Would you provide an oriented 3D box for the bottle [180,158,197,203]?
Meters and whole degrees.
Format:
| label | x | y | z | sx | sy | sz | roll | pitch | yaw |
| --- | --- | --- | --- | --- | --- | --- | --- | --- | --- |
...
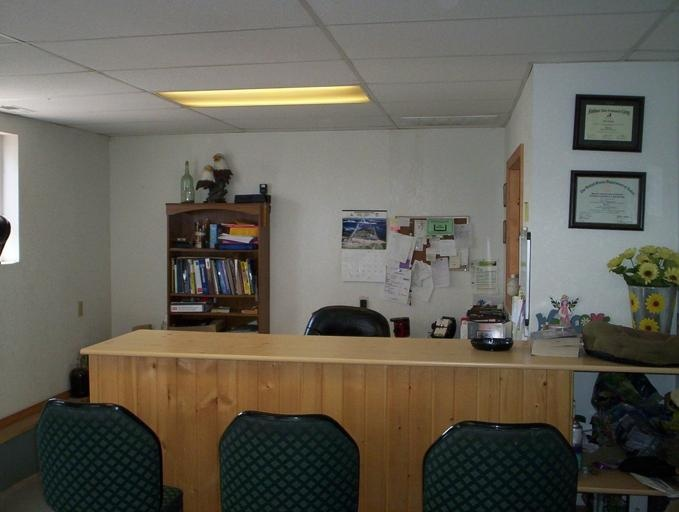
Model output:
| label | x | y | z | sx | sy | sz | roll | pitch | yaw |
| --- | --- | --- | --- | --- | --- | --- | --- | --- | --- |
| bottle | -1.482 | -0.724 | 5.639 | 0.140 | 0.437 | 0.285 | 0 | 1 | -15 |

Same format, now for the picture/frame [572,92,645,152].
| label | x | y | z | sx | sy | sz | roll | pitch | yaw |
| --- | --- | --- | --- | --- | --- | --- | --- | --- | --- |
| picture/frame | 1.653 | -0.822 | 3.538 | 0.361 | 0.316 | 0.029 | 2 | 4 | 8 |

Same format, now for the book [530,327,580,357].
| label | x | y | z | sx | sy | sz | roll | pitch | yaw |
| --- | --- | --- | --- | --- | --- | --- | --- | --- | --- |
| book | 1.092 | 0.436 | 2.918 | 0.172 | 0.078 | 0.172 | 0 | 0 | 10 |

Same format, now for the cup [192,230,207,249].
| label | x | y | z | sx | sy | sz | roll | pitch | yaw |
| --- | --- | --- | --- | --- | --- | --- | --- | --- | --- |
| cup | -1.338 | -0.153 | 5.547 | 0.143 | 0.161 | 0.142 | 3 | 7 | 0 |

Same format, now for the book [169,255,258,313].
| label | x | y | z | sx | sy | sz | roll | pitch | yaw |
| --- | --- | --- | --- | --- | --- | --- | --- | --- | --- |
| book | -1.191 | 0.269 | 5.863 | 0.767 | 0.491 | 0.855 | 4 | 2 | -1 |

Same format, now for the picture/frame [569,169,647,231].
| label | x | y | z | sx | sy | sz | roll | pitch | yaw |
| --- | --- | --- | --- | --- | --- | --- | --- | --- | --- |
| picture/frame | 1.661 | -0.350 | 3.556 | 0.376 | 0.325 | 0.029 | 1 | 4 | 8 |
